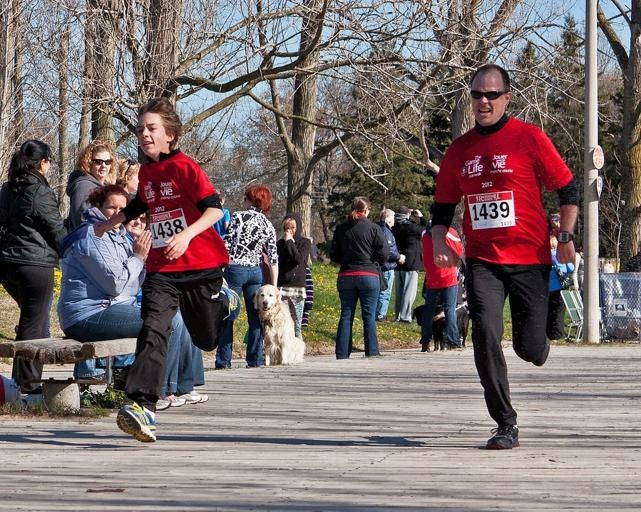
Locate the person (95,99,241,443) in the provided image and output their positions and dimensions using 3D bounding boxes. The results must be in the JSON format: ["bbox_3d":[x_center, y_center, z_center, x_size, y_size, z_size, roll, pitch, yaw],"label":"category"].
[{"bbox_3d":[-1.171,0.085,8.866,0.921,2.751,0.812,-1,-4,-11],"label":"person"}]

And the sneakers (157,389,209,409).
[{"bbox_3d":[-1.322,1.378,10.644,0.424,0.179,0.146,-3,2,-24],"label":"sneakers"}]

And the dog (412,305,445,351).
[{"bbox_3d":[1.582,1.041,16.608,0.316,0.697,1.265,5,1,23],"label":"dog"}]

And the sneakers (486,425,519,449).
[{"bbox_3d":[1.401,1.409,8.682,0.209,0.176,0.291,-4,-5,26],"label":"sneakers"}]
